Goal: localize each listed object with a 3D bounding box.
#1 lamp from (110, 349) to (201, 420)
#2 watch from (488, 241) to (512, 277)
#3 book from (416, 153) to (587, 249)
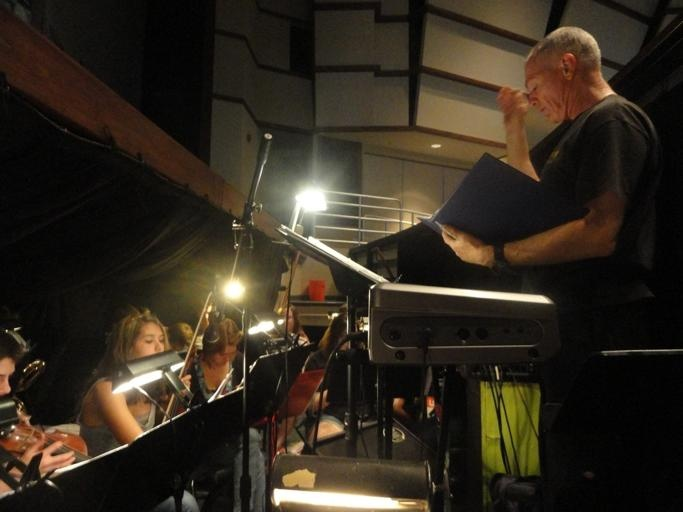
[{"bbox_3d":[-0.956,0.647,3.119,0.338,0.232,0.338,-18,-39,-52],"label":"lamp"},{"bbox_3d":[0.648,0.018,2.538,0.079,0.120,0.051,-1,0,-13],"label":"watch"},{"bbox_3d":[0.677,-0.190,2.426,0.397,0.117,0.412,19,-34,-12],"label":"book"}]
